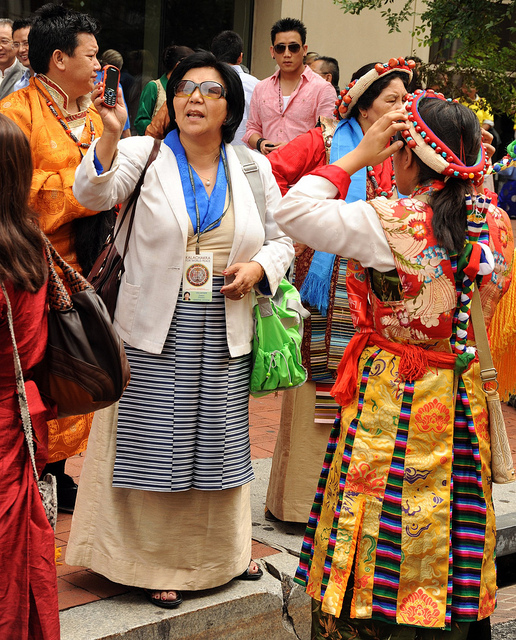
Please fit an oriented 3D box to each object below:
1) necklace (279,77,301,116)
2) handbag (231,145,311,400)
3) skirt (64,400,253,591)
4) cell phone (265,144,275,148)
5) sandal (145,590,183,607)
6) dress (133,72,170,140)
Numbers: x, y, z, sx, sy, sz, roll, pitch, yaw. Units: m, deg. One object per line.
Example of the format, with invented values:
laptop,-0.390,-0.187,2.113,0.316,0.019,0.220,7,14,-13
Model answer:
necklace,0.276,-2.071,5.628,0.207,0.353,0.148,8,14,10
handbag,0.088,-0.185,2.428,0.482,0.944,0.527,0,28,-3
skirt,-0.248,0.688,2.660,1.082,0.860,0.559,4,-17,0
cell phone,0.109,-1.415,4.942,0.063,0.030,0.028,-2,-1,36
sandal,-0.356,1.062,2.312,0.145,0.047,0.080,3,13,-7
dress,-0.905,-1.995,5.483,0.264,0.572,0.449,24,34,2
